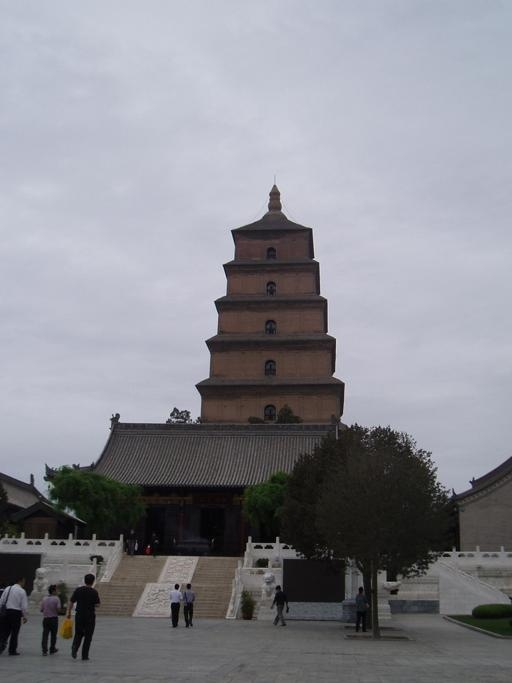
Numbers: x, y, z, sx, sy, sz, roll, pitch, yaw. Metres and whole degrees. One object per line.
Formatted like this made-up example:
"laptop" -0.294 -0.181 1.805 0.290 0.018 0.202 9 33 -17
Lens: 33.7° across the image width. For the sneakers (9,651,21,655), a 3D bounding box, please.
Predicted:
"sneakers" -3.750 4.886 13.154 0.156 0.053 0.347 7 -15 -13
